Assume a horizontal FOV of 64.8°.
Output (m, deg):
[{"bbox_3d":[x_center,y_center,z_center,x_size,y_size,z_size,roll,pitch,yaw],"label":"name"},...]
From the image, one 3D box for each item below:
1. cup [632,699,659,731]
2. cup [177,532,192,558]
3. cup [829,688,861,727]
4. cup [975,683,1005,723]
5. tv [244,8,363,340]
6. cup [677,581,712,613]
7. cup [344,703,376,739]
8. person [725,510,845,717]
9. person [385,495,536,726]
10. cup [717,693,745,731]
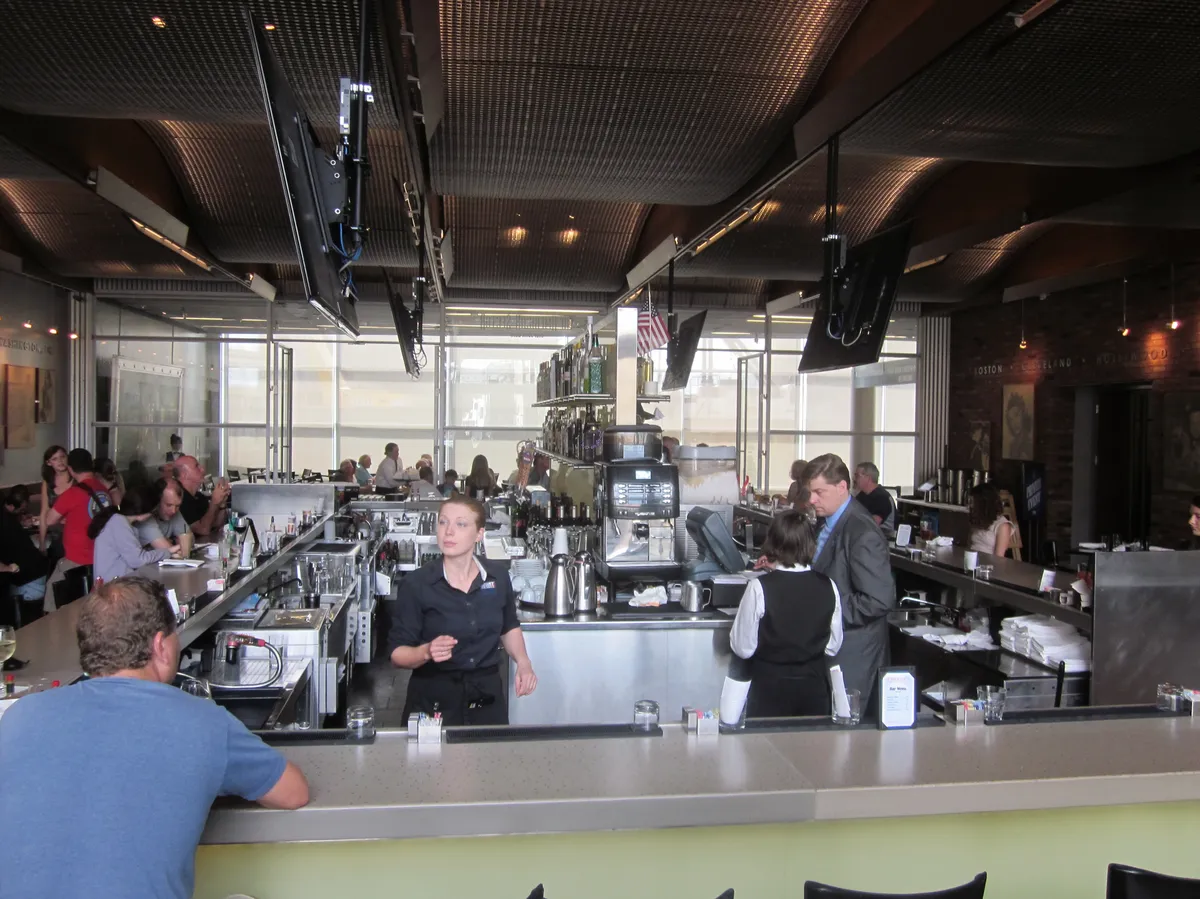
[{"bbox_3d":[0.164,0.964,3.407,0.090,0.099,0.091,0,0,0],"label":"cup"},{"bbox_3d":[-2.779,0.644,6.288,0.069,0.167,0.289,-2,4,-31],"label":"cup"},{"bbox_3d":[0.898,0.944,3.449,0.100,0.108,0.133,1,4,14],"label":"cup"},{"bbox_3d":[1.436,0.953,3.516,0.106,0.124,0.129,0,-4,-4],"label":"cup"},{"bbox_3d":[-1.117,-1.009,3.528,0.316,1.054,0.764,-1,4,-15],"label":"tv"},{"bbox_3d":[0.585,0.881,5.645,0.199,0.173,0.178,-1,4,-17],"label":"cup"},{"bbox_3d":[-0.837,0.944,3.296,0.098,0.116,0.100,1,1,0],"label":"cup"},{"bbox_3d":[0.899,0.792,4.538,0.522,0.994,0.271,1,4,8],"label":"person"},{"bbox_3d":[-0.596,0.714,4.090,0.592,1.014,0.331,-1,4,-13],"label":"person"},{"bbox_3d":[0.485,0.983,3.491,0.101,0.099,0.080,6,-5,-31],"label":"cup"}]
